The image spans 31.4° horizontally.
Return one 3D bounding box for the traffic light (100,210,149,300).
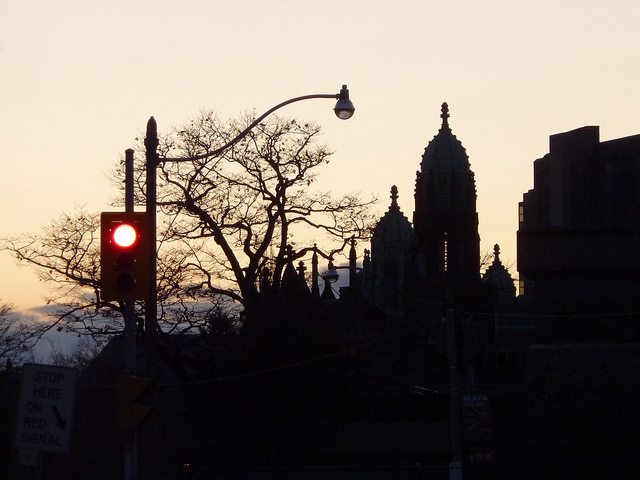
[{"bbox_3d":[-4.912,0.395,28.642,1.229,2.184,0.458,1,-12,-9],"label":"traffic light"}]
